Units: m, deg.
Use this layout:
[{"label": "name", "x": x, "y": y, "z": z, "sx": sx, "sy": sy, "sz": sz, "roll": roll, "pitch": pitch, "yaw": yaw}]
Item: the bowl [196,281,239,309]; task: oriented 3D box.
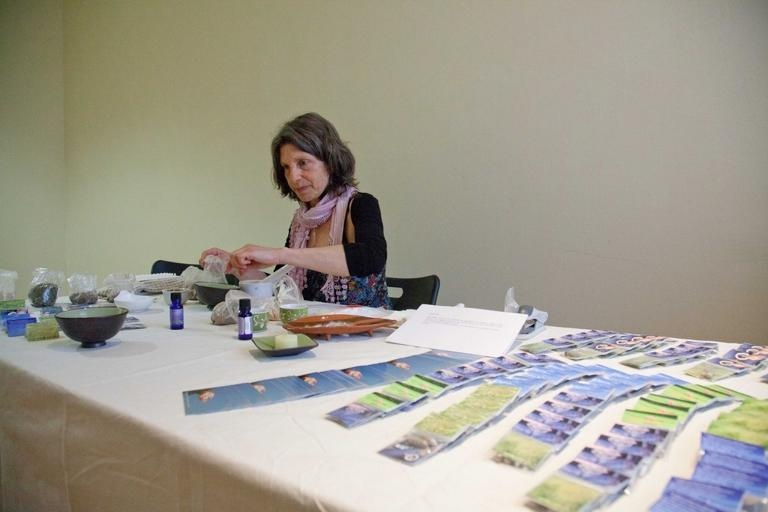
[{"label": "bowl", "x": -0.666, "y": 0.145, "z": 2.050, "sx": 0.131, "sy": 0.064, "sz": 0.129, "roll": 4, "pitch": -2, "yaw": 0}]

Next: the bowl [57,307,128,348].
[{"label": "bowl", "x": -0.876, "y": 0.229, "z": 1.548, "sx": 0.198, "sy": 0.084, "sz": 0.195, "roll": -5, "pitch": -6, "yaw": -1}]

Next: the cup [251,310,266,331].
[{"label": "cup", "x": -0.407, "y": 0.215, "z": 1.699, "sx": 0.057, "sy": 0.042, "sz": 0.052, "roll": -1, "pitch": 2, "yaw": 0}]

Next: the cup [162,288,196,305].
[{"label": "cup", "x": -0.840, "y": 0.163, "z": 2.138, "sx": 0.139, "sy": 0.050, "sz": 0.088, "roll": 4, "pitch": -1, "yaw": 37}]

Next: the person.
[{"label": "person", "x": -0.309, "y": -0.209, "z": 2.304, "sx": 0.681, "sy": 0.870, "sz": 0.753, "roll": 2, "pitch": 4, "yaw": 0}]

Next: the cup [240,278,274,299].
[{"label": "cup", "x": -0.477, "y": 0.126, "z": 1.946, "sx": 0.070, "sy": 0.063, "sz": 0.094, "roll": -1, "pitch": -3, "yaw": 44}]

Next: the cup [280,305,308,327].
[{"label": "cup", "x": -0.317, "y": 0.206, "z": 1.769, "sx": 0.076, "sy": 0.051, "sz": 0.069, "roll": 0, "pitch": 2, "yaw": 0}]
